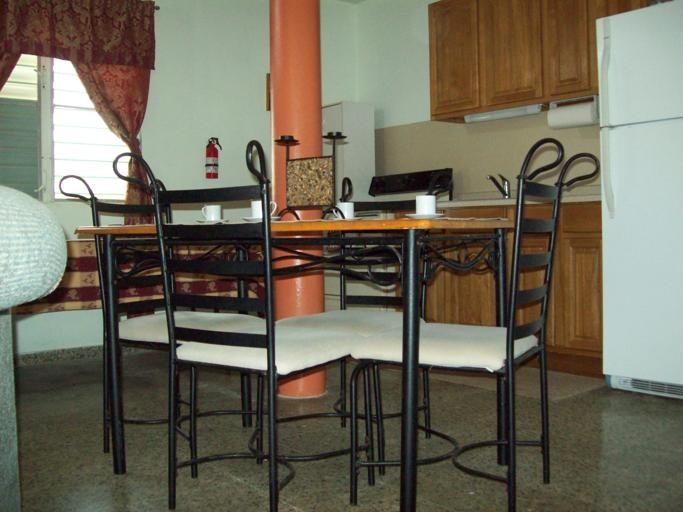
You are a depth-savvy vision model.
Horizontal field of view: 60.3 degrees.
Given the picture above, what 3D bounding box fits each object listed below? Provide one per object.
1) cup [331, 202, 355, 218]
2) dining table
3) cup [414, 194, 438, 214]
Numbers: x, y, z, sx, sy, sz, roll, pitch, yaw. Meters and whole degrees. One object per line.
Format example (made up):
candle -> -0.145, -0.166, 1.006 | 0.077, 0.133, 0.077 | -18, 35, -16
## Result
cup -> 0.009, -0.195, 2.407 | 0.085, 0.069, 0.051 | -1, 1, 10
dining table -> 0.065, 0.240, 3.391 | 2.286, 1.049, 2.788 | 3, 9, 38
cup -> 0.315, -0.190, 2.140 | 0.086, 0.058, 0.063 | 1, -2, -39
